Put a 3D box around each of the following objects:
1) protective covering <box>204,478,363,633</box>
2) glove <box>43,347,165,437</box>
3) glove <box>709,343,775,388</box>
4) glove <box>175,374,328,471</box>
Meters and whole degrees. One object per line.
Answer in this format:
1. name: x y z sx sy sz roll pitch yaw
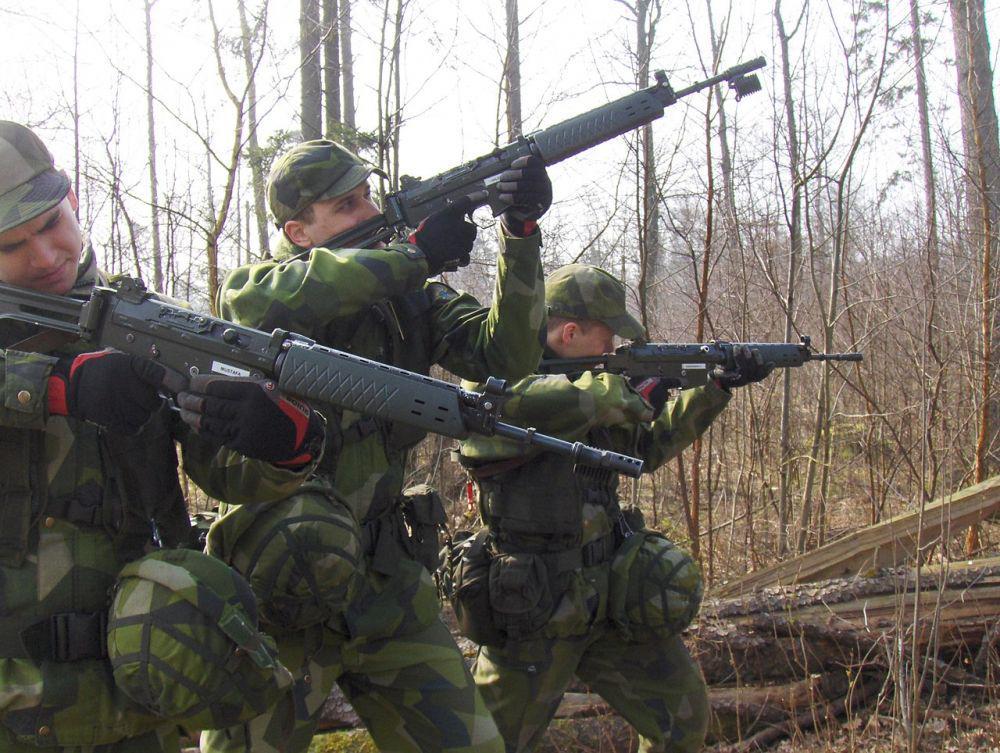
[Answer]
1. protective covering: -1.297 1.073 6.583 0.663 0.826 0.933 14 -25 -15
2. glove: -2.012 0.082 5.665 0.545 0.427 0.213 -2 -5 8
3. glove: 1.822 -0.093 8.237 0.571 0.300 0.217 -8 -4 -21
4. glove: -1.282 0.225 5.734 0.707 0.423 0.232 1 -5 -20
